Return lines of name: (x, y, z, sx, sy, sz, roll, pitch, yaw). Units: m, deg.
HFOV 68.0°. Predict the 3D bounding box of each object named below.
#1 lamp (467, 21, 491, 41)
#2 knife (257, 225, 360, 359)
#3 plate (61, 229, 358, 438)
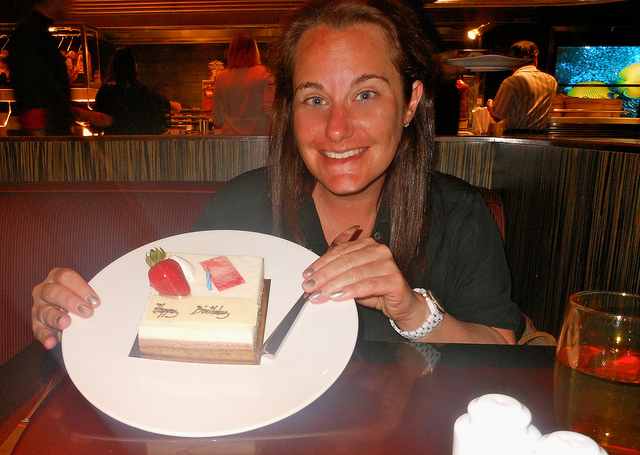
lamp: (2.412, -3.016, 7.259, 0.358, 0.135, 0.128, -42, 25, -14)
knife: (0.013, 0.115, 1.177, 0.099, 0.059, 0.548, 18, 46, 25)
plate: (-0.217, 0.189, 0.970, 0.520, 0.322, 0.447, -5, 8, -35)
